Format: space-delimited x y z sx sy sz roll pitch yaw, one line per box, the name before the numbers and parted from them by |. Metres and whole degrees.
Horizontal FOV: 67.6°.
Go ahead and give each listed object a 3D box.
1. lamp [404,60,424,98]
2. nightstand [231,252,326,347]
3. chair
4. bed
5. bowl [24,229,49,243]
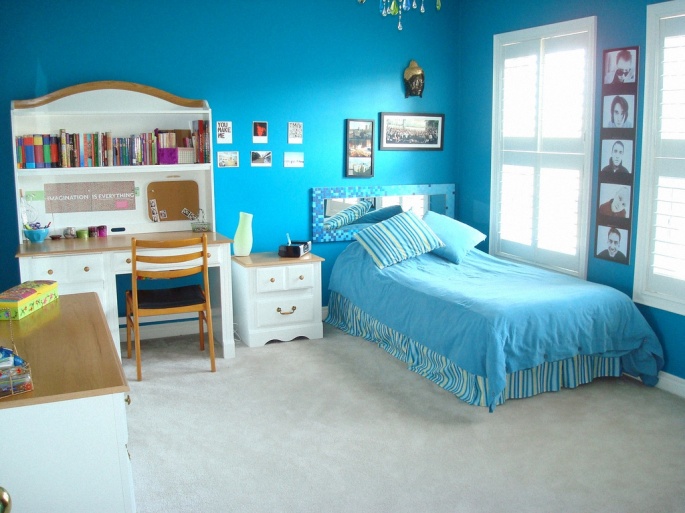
lamp | 0.736 -1.777 5.063 0.250 0.347 0.139 -6 12 -23
nightstand | -0.544 0.251 4.714 0.894 0.890 0.730 -3 5 -26
chair | -1.369 0.385 4.040 0.767 1.361 0.825 -4 22 -22
bed | 0.886 0.432 3.910 1.052 0.697 1.638 -7 11 -32
bowl | -2.376 -0.170 3.978 0.123 0.081 0.126 -1 2 0
